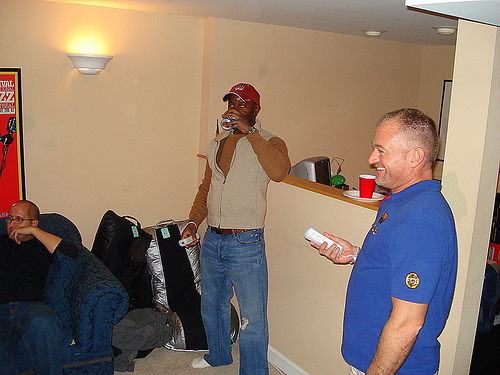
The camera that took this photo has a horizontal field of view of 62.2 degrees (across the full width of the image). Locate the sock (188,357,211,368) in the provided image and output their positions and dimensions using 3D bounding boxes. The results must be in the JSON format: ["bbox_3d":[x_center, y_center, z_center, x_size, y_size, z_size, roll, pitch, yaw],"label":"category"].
[{"bbox_3d":[-0.373,1.246,2.939,0.115,0.043,0.065,10,20,-8],"label":"sock"}]

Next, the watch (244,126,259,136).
[{"bbox_3d":[0.007,-0.343,2.551,0.066,0.048,0.024,-23,42,-32],"label":"watch"}]

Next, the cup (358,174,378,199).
[{"bbox_3d":[0.659,-0.005,2.377,0.139,0.154,0.138,1,1,0],"label":"cup"}]

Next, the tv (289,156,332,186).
[{"bbox_3d":[0.520,-0.157,3.406,0.265,0.202,0.266,1,9,14],"label":"tv"}]

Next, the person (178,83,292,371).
[{"bbox_3d":[-0.081,0.336,2.712,0.566,1.971,0.315,8,10,30],"label":"person"}]

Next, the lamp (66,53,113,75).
[{"bbox_3d":[-1.354,-1.043,3.508,0.343,0.157,0.162,-1,9,-24],"label":"lamp"}]

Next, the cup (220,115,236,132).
[{"bbox_3d":[-0.149,-0.403,2.619,0.072,0.107,0.155,-1,9,-20],"label":"cup"}]

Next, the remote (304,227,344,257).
[{"bbox_3d":[0.347,0.253,2.076,0.098,0.019,0.249,-33,-37,21],"label":"remote"}]

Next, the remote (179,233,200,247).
[{"bbox_3d":[-0.410,0.361,2.876,0.185,0.062,0.032,-26,12,-29],"label":"remote"}]
